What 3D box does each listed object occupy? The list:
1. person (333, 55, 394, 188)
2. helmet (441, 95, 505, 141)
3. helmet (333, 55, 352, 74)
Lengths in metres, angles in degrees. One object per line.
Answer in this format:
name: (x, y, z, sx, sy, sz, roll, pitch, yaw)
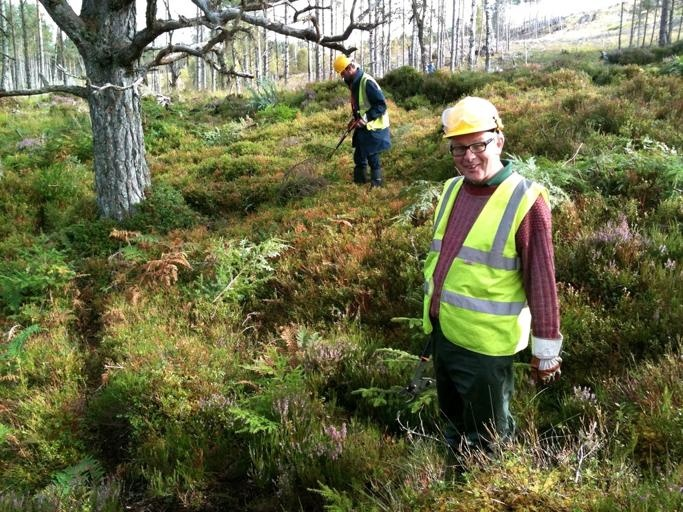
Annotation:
person: (0.441, -2.718, 13.156, 0.910, 2.584, 0.775, 0, 8, 22)
helmet: (1.374, -1.496, 7.009, 0.427, 0.312, 0.585, 2, 25, 35)
helmet: (0.029, -3.796, 12.899, 0.373, 0.316, 0.359, -1, 8, 14)
